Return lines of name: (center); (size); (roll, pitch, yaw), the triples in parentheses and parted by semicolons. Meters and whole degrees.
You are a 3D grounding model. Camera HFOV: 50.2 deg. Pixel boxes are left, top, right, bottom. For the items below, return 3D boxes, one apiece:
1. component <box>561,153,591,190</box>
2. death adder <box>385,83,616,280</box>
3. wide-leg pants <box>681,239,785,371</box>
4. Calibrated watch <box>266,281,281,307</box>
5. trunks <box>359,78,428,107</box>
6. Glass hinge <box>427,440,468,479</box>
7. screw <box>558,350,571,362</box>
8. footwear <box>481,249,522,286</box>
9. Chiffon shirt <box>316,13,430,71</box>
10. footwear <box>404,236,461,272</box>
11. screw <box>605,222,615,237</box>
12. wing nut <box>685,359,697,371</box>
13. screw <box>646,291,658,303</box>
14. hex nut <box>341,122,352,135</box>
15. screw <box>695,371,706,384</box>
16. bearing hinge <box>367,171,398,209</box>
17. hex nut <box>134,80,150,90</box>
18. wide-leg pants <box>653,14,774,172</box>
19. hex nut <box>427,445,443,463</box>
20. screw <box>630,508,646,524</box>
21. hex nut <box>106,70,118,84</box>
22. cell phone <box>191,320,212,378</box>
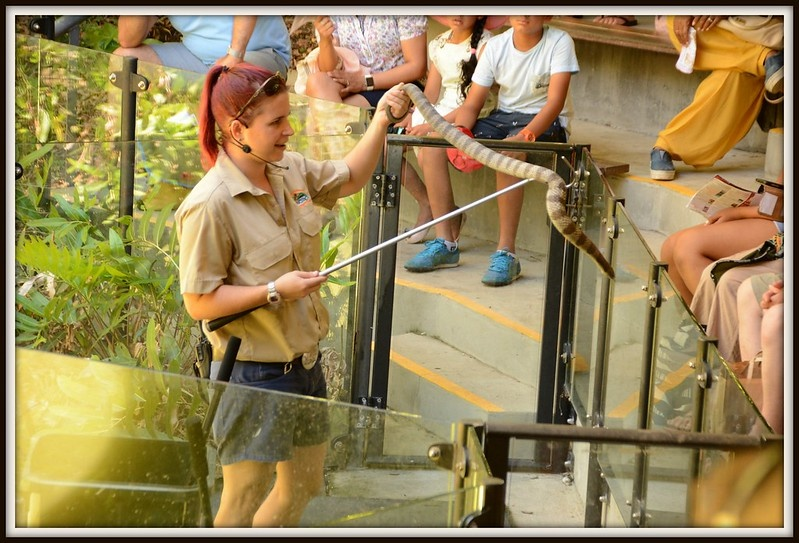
component: (1.131, -0.616, 5.390); (0.199, 0.209, 0.180); (0, 1, -32)
death adder: (0.694, -0.463, 4.736); (1.106, 1.087, 1.032); (20, 32, 28)
wide-leg pants: (1.828, 0.186, 4.942); (0.696, 0.791, 0.683); (5, 10, 8)
Calibrated watch: (-0.547, 0.103, 3.683); (0.069, 0.097, 0.091); (-5, 23, -6)
trunks: (-0.021, -1.436, 7.066); (0.551, 0.107, 0.310); (-16, 10, -8)
Glass hinge: (0.168, 0.634, 2.872); (0.130, 0.091, 0.063); (12, 10, 32)
screw: (1.090, 0.562, 5.582); (0.063, 0.060, 0.025); (3, 2, 35)
footwear: (0.691, -0.037, 5.705); (0.205, 0.199, 0.415); (9, 23, 24)
Chiffon shirt: (-0.197, -1.679, 7.139); (0.901, 0.821, 0.454); (-1, -1, 0)
footwear: (0.230, -0.105, 5.730); (0.445, 0.195, 0.148); (-7, 14, -37)
screw: (1.170, -0.228, 4.703); (0.049, 0.021, 0.067); (7, 38, 36)
wing nut: (1.243, 0.394, 3.618); (0.009, 0.035, 0.037); (-10, 13, -38)
screw: (1.208, 0.121, 4.067); (0.061, 0.059, 0.022); (-9, -2, 25)
hex nut: (-0.318, -0.879, 5.341); (0.066, 0.102, 0.070); (3, -9, -18)
screw: (1.242, 0.438, 3.498); (0.010, 0.036, 0.037); (-2, 6, -42)
bearing hinge: (-0.112, -0.510, 5.350); (0.252, 0.311, 0.063); (1, 0, -7)
hex nut: (-1.629, -1.177, 5.399); (0.061, 0.057, 0.015); (10, 11, 9)
wide-leg pants: (2.305, -1.292, 6.291); (1.081, 1.106, 0.576); (-18, 36, -29)
hex nut: (0.121, 0.618, 2.889); (0.054, 0.061, 0.055); (-9, -15, 38)
screw: (1.107, 1.144, 3.958); (0.072, 0.068, 0.071); (14, -11, -12)
hex nut: (-1.845, -1.243, 5.471); (0.067, 0.064, 0.033); (0, 1, 21)
cell phone: (-0.926, 0.393, 3.978); (0.095, 0.321, 0.070); (1, 35, -1)
